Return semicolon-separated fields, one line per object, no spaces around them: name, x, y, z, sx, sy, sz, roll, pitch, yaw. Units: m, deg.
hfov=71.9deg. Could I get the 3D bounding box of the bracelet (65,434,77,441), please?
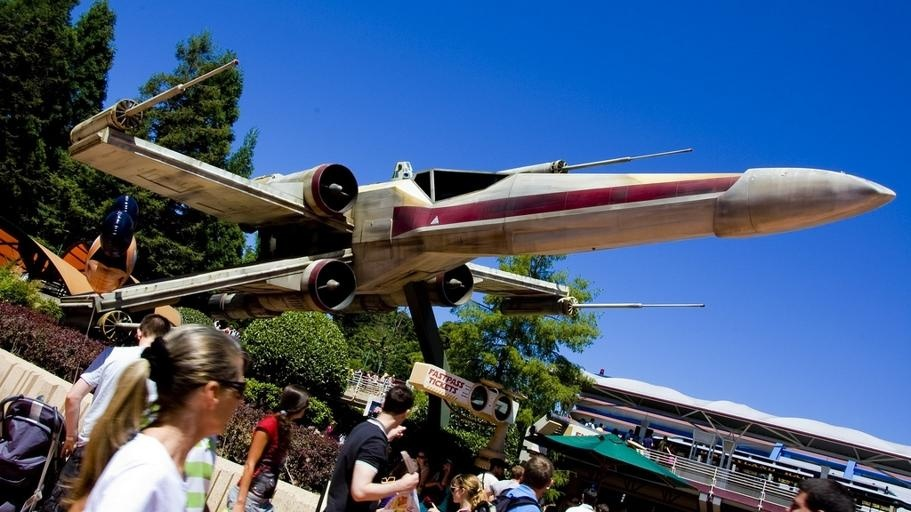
bracelet;-8.301;3.942;13.560;0.181;0.121;0.169;-21;-30;5
